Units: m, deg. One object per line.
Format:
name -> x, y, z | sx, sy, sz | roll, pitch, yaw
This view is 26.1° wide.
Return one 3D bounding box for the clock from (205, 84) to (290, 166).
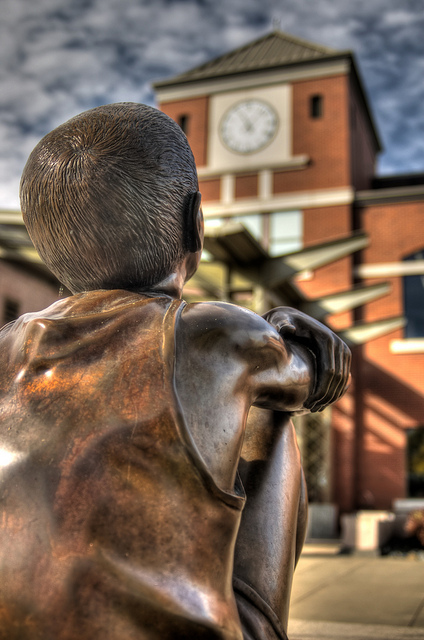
clock -> 0.795, -4.194, 19.914 | 2.406, 1.651, 0.125 | 5, 8, 42
